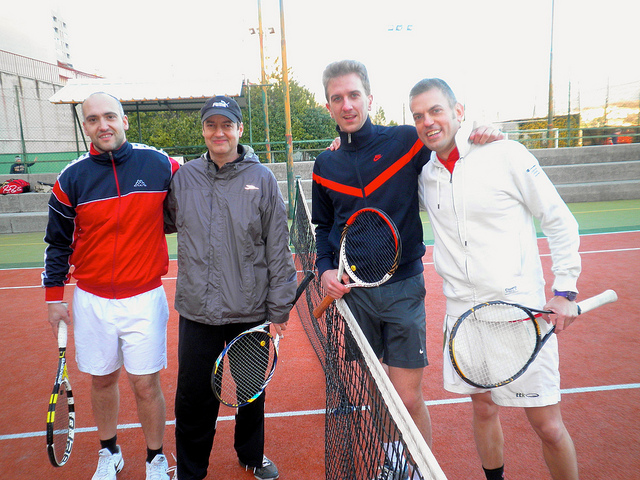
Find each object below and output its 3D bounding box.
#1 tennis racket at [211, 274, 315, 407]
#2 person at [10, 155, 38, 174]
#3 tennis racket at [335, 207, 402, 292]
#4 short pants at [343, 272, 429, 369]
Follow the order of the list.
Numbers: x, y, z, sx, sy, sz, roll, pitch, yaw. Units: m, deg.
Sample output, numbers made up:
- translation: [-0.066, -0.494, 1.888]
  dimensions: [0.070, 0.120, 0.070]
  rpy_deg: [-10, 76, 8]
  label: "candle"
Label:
- translation: [-0.408, 0.678, 3.779]
  dimensions: [0.475, 1.278, 0.081]
  rpy_deg: [18, 20, -30]
  label: "tennis racket"
- translation: [-9.440, -2.326, 16.577]
  dimensions: [0.629, 0.489, 1.120]
  rpy_deg: [-14, 19, -42]
  label: "person"
- translation: [0.344, 0.120, 3.662]
  dimensions: [0.510, 0.656, 0.220]
  rpy_deg: [10, 17, 41]
  label: "tennis racket"
- translation: [0.464, 0.575, 3.795]
  dimensions: [0.455, 0.653, 0.330]
  rpy_deg: [-22, -15, 26]
  label: "short pants"
